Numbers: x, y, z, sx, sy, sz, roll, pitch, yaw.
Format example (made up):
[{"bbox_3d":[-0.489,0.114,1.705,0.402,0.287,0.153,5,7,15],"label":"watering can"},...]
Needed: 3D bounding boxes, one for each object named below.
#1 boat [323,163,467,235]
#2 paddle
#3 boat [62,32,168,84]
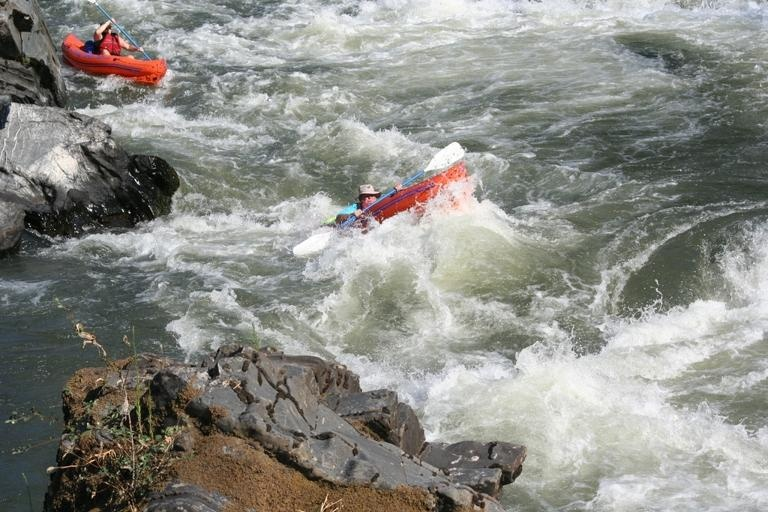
[{"bbox_3d":[0.132,-1.345,23.936,0.510,3.908,0.997,61,10,-1],"label":"boat"},{"bbox_3d":[-0.076,-1.151,24.249,5.187,1.100,0.819,-25,37,-17],"label":"paddle"},{"bbox_3d":[-7.773,-5.544,29.886,2.919,0.832,1.398,10,24,15],"label":"boat"}]
